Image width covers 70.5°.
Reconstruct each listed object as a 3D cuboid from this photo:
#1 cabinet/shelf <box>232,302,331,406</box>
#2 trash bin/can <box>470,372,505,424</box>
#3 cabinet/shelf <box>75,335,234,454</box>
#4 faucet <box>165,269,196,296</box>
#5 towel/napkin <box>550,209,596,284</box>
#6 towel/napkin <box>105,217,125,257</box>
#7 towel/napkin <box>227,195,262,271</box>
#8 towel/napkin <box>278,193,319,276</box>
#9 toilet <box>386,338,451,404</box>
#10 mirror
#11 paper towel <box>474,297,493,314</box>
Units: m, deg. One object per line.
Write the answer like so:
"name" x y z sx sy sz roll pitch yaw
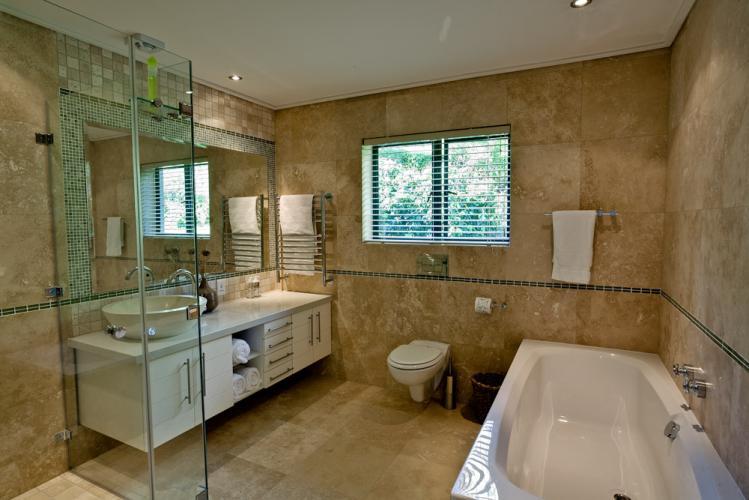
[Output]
"cabinet/shelf" -0.824 0.834 4.659 0.219 0.580 1.293 5 15 31
"trash bin/can" 0.879 1.235 4.405 0.378 0.381 0.345 2 4 -2
"cabinet/shelf" -1.394 0.835 3.495 0.586 0.609 0.786 9 11 29
"faucet" -1.190 0.185 3.327 0.152 0.197 0.204 2 1 22
"towel/napkin" 1.570 -0.025 4.168 0.325 0.552 0.169 1 15 18
"towel/napkin" -1.529 -0.073 3.113 0.116 0.232 0.060 -4 14 1
"towel/napkin" -1.203 -0.145 4.976 0.098 0.722 0.502 3 16 25
"towel/napkin" -0.749 -0.140 5.151 0.444 0.774 0.147 4 17 30
"toilet" 0.370 1.077 4.545 0.421 0.416 0.610 3 11 25
"mirror" -1.383 -0.290 3.665 0.081 1.188 1.740 3 2 34
"paper towel" 0.934 0.477 4.515 0.152 0.139 0.077 3 4 28
